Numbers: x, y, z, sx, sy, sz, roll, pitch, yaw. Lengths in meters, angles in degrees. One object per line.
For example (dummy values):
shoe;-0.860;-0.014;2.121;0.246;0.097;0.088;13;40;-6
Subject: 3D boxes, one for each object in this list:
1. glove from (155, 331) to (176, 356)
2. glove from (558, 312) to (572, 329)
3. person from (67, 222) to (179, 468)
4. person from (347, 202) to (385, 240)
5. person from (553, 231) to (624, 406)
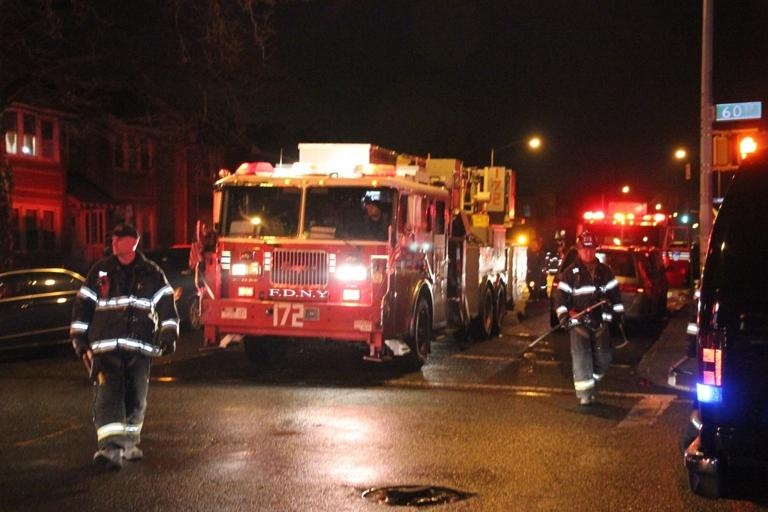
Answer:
glove;-2.416;0.949;7.600;0.179;0.273;0.272;3;33;4
glove;2.702;0.966;10.327;0.147;0.247;0.239;0;2;-22
person;-2.801;0.922;7.424;1.064;2.521;0.592;0;2;-29
person;-0.273;-0.641;11.964;0.708;0.677;0.233;2;2;34
person;3.087;0.918;10.413;0.965;2.514;0.734;0;2;-20
